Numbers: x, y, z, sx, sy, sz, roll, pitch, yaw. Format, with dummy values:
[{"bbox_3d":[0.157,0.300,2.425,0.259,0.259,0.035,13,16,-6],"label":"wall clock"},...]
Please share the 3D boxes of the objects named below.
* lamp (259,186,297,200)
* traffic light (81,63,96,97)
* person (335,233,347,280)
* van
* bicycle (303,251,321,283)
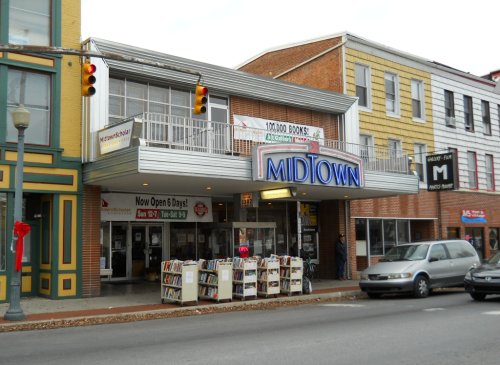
[{"bbox_3d":[1.150,0.405,21.506,0.511,0.339,1.631,6,-12,-39],"label":"lamp"},{"bbox_3d":[-4.422,-2.911,14.572,0.329,1.032,0.522,0,-10,-15],"label":"traffic light"},{"bbox_3d":[4.396,3.541,25.263,0.523,2.115,0.755,-4,-9,10],"label":"person"},{"bbox_3d":[6.306,3.176,19.790,4.400,2.053,1.564,3,-11,-30],"label":"van"},{"bbox_3d":[2.836,3.859,24.535,0.637,1.400,2.365,-3,-9,6],"label":"bicycle"}]
